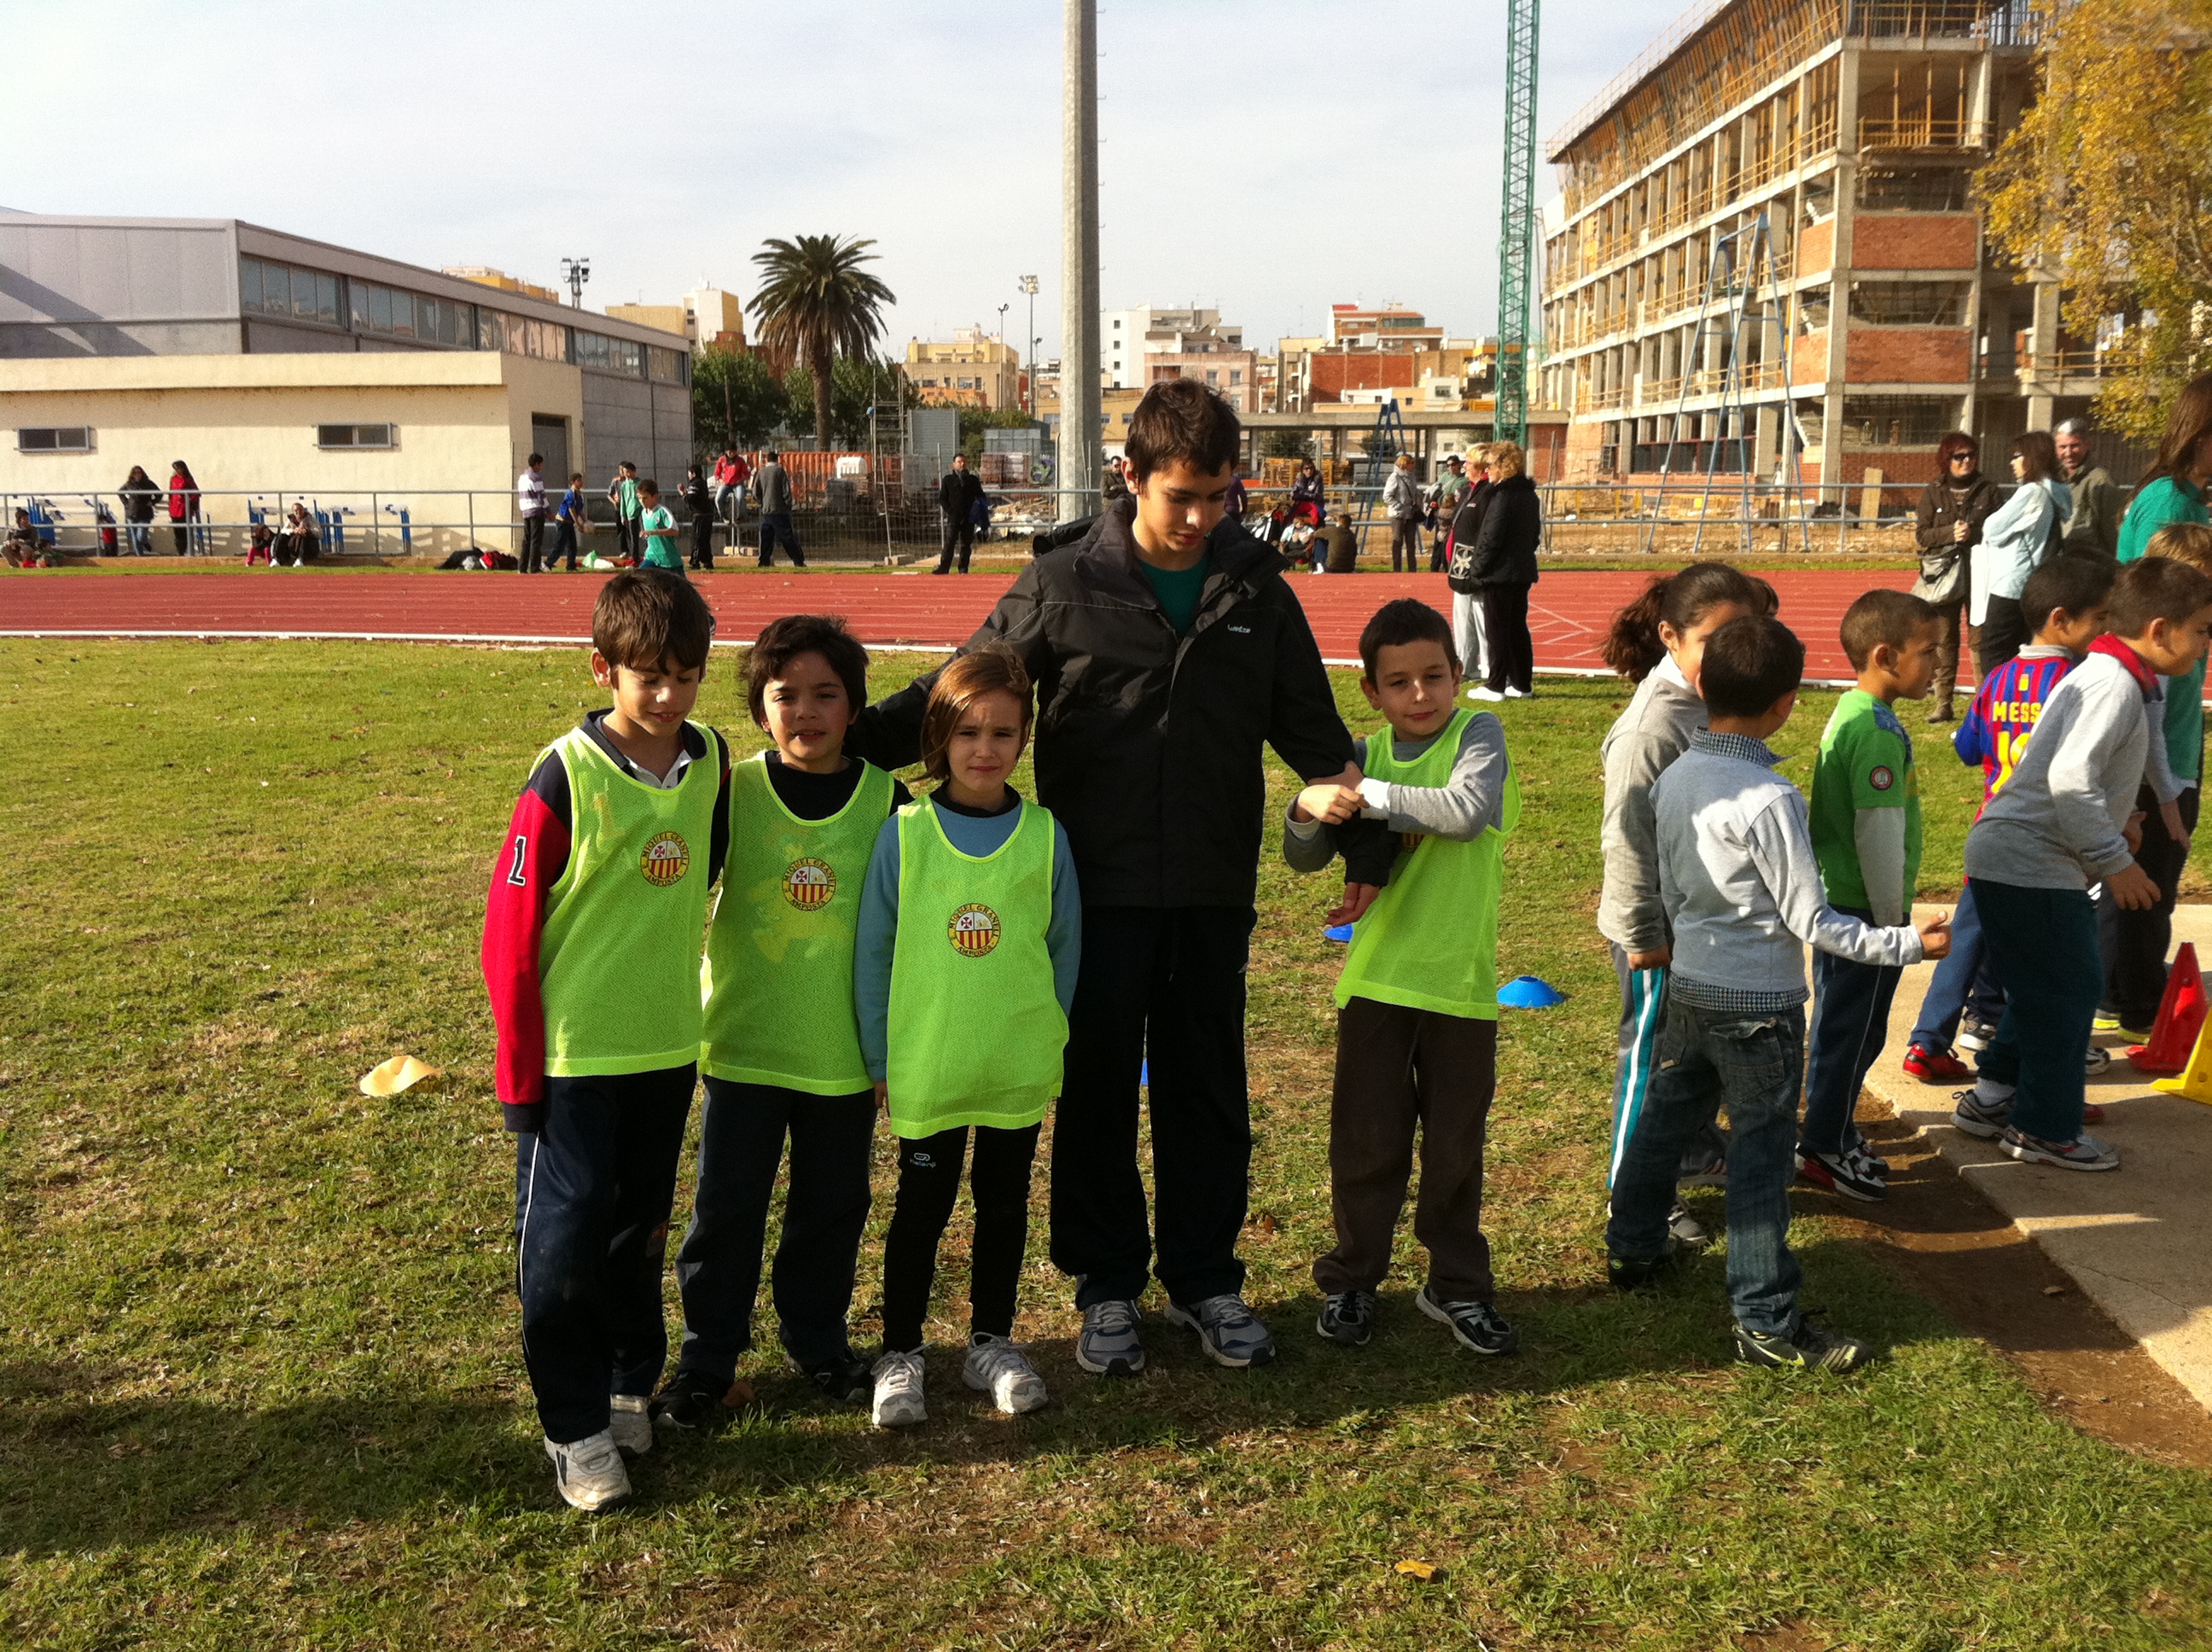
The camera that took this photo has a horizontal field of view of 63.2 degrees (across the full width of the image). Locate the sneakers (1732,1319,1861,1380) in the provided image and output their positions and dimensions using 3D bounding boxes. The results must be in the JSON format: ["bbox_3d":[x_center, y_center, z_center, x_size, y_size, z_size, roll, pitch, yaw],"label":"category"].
[{"bbox_3d":[1.616,1.216,4.161,0.295,0.135,0.109,-3,5,7],"label":"sneakers"}]

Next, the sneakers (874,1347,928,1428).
[{"bbox_3d":[-0.461,1.261,4.032,0.093,0.047,0.152,2,24,-7],"label":"sneakers"}]

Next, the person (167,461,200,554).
[{"bbox_3d":[-15.988,-5.462,31.053,0.477,1.501,0.645,-6,12,-24],"label":"person"}]

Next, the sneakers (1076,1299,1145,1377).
[{"bbox_3d":[0.013,1.209,4.308,0.163,0.132,0.204,-1,12,-1],"label":"sneakers"}]

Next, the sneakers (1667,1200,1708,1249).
[{"bbox_3d":[1.579,1.083,4.887,0.085,0.114,0.258,-3,-6,-1],"label":"sneakers"}]

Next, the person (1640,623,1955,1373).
[{"bbox_3d":[1.556,0.370,4.291,0.442,1.659,0.694,-5,12,-18],"label":"person"}]

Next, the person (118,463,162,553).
[{"bbox_3d":[-16.744,-5.438,31.130,0.611,1.438,1.125,-7,13,-28],"label":"person"}]

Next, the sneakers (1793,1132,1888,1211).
[{"bbox_3d":[2.075,0.965,5.018,0.288,0.133,0.101,8,12,35],"label":"sneakers"}]

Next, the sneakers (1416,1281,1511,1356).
[{"bbox_3d":[0.880,1.193,4.342,0.212,0.103,0.084,34,12,39],"label":"sneakers"}]

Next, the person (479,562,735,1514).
[{"bbox_3d":[-1.110,0.558,3.888,0.451,1.611,0.668,0,11,7],"label":"person"}]

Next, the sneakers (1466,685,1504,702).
[{"bbox_3d":[2.661,-0.918,12.542,0.096,0.116,0.265,-3,5,-20],"label":"sneakers"}]

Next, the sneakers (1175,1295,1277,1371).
[{"bbox_3d":[0.297,1.218,4.338,0.103,0.117,0.242,-4,3,-37],"label":"sneakers"}]

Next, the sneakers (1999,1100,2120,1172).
[{"bbox_3d":[2.715,0.893,5.089,0.283,0.139,0.125,0,8,5],"label":"sneakers"}]

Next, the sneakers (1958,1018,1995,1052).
[{"bbox_3d":[2.864,0.682,5.867,0.093,0.128,0.291,4,-4,23],"label":"sneakers"}]

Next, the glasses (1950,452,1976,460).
[{"bbox_3d":[5.556,-2.367,11.508,0.079,0.043,0.088,-2,12,3],"label":"glasses"}]

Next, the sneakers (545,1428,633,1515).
[{"bbox_3d":[-1.084,1.336,3.770,0.152,0.137,0.178,-6,13,-23],"label":"sneakers"}]

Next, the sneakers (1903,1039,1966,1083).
[{"bbox_3d":[2.703,0.760,5.776,0.227,0.087,0.097,5,-21,-28],"label":"sneakers"}]

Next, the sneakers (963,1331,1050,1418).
[{"bbox_3d":[-0.231,1.260,4.141,0.101,0.093,0.221,-3,-1,-25],"label":"sneakers"}]
